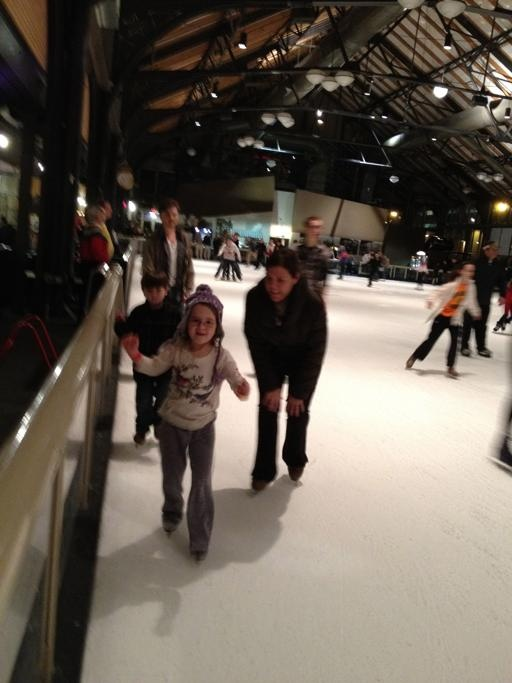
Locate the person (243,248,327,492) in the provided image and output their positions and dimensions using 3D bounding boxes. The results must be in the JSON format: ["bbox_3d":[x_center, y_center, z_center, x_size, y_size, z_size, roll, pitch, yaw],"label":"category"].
[{"bbox_3d":[0.124,0.184,2.367,0.354,1.342,0.553,13,11,41],"label":"person"}]

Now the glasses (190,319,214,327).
[{"bbox_3d":[-0.215,-0.070,1.704,0.088,0.033,0.023,6,9,-9],"label":"glasses"}]

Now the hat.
[{"bbox_3d":[-0.251,-0.055,1.906,0.209,0.402,0.376,5,9,-8],"label":"hat"}]

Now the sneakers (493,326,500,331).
[{"bbox_3d":[5.519,-0.278,9.821,0.082,0.158,0.146,-4,11,-2],"label":"sneakers"}]

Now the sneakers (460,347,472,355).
[{"bbox_3d":[3.389,0.179,6.887,0.115,0.128,0.127,0,12,7],"label":"sneakers"}]
